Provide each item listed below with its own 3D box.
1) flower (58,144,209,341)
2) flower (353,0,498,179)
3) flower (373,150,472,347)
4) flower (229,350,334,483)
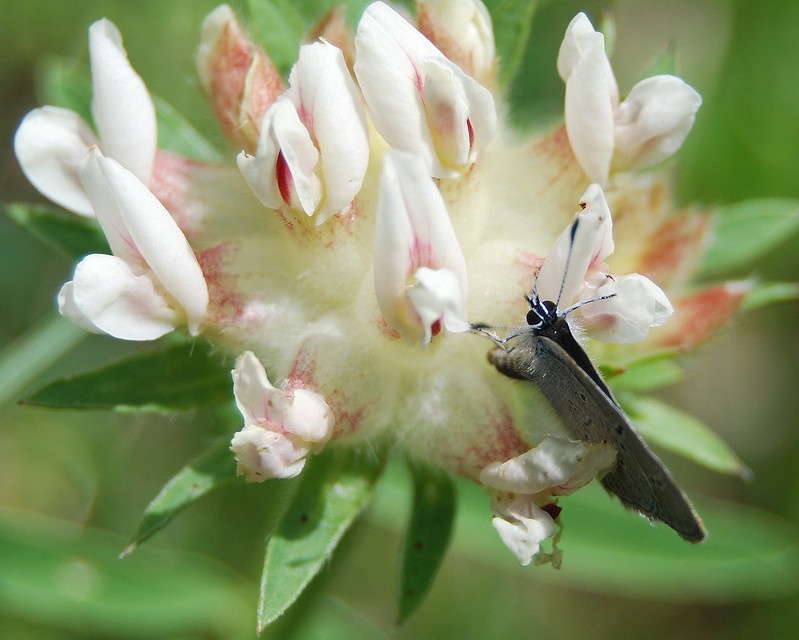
[{"bbox_3d":[-0.602,-0.171,2.151,0.298,0.329,0.470,-34,123,-57],"label":"flower"},{"bbox_3d":[0.042,-0.509,2.179,0.268,0.181,0.412,-25,100,-5],"label":"flower"},{"bbox_3d":[0.033,-0.157,2.082,0.222,0.166,0.397,-12,107,-5],"label":"flower"},{"bbox_3d":[-0.271,0.215,2.135,0.245,0.155,0.316,15,48,4],"label":"flower"}]
